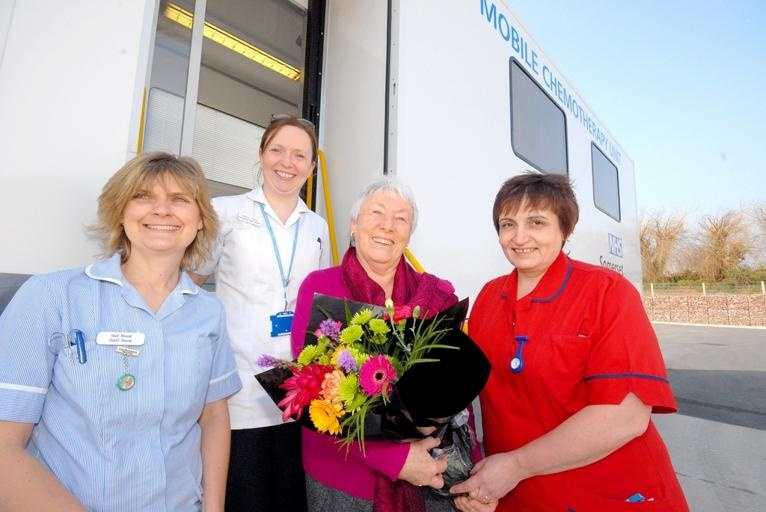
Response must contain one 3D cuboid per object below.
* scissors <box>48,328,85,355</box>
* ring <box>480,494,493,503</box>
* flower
[{"bbox_3d":[-1.275,0.351,1.916,0.127,0.090,0.030,-1,-1,-5],"label":"scissors"},{"bbox_3d":[0.472,1.107,2.130,0.052,0.043,0.020,-1,-1,4],"label":"ring"},{"bbox_3d":[-0.039,0.490,2.001,0.937,0.644,0.322,-1,-1,-13],"label":"flower"}]
